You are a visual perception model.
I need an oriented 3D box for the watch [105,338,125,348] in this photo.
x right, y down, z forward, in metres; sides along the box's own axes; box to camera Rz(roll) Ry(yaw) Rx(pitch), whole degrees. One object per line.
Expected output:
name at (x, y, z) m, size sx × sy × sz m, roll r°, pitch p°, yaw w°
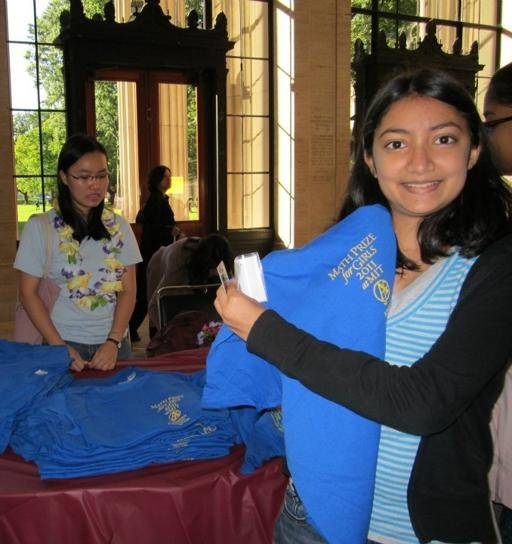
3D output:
watch at (-0.554, 0.275, 2.220) m, size 0.065 × 0.034 × 0.060 m, roll -4°, pitch 0°, yaw 6°

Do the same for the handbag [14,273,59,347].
handbag at (-0.847, 0.151, 2.146) m, size 0.178 × 0.251 × 0.074 m, roll 2°, pitch 9°, yaw 9°
